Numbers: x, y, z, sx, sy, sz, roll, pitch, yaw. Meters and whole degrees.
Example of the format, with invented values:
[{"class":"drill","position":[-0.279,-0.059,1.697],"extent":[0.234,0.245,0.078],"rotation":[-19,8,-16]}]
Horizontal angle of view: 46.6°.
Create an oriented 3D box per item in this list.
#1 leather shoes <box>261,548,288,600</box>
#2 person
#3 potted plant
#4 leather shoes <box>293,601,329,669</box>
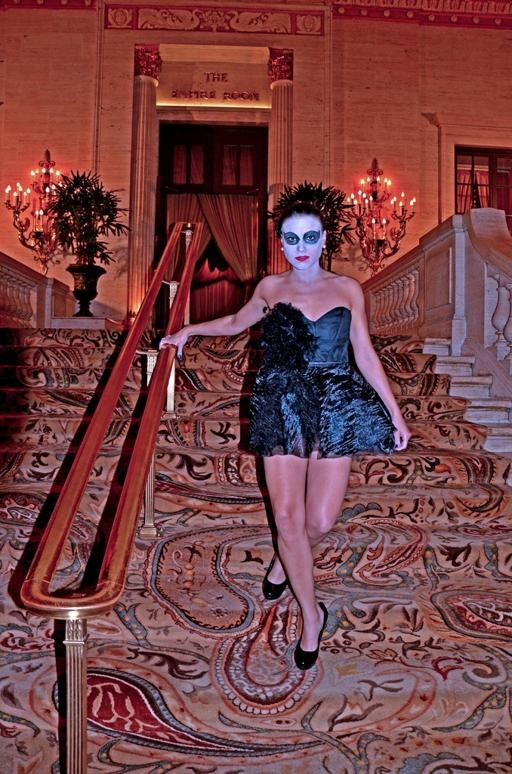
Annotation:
[{"class":"leather shoes","position":[0.075,0.697,2.200],"extent":[0.061,0.203,0.031],"rotation":[3,-7,24]},{"class":"person","position":[0.196,0.133,1.953],"extent":[0.475,1.439,0.462],"rotation":[-2,8,-12]},{"class":"potted plant","position":[-2.135,-1.971,7.644],"extent":[0.998,2.082,2.778],"rotation":[-2,8,-12]},{"class":"leather shoes","position":[0.180,0.781,1.878],"extent":[0.049,0.208,0.064],"rotation":[21,-20,-37]}]
